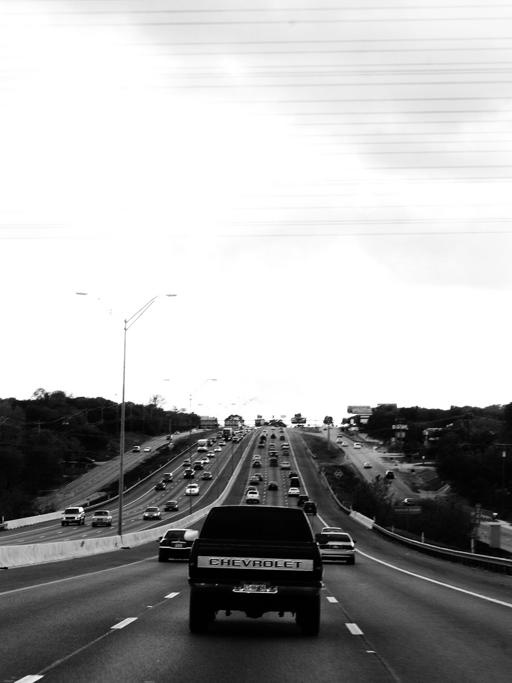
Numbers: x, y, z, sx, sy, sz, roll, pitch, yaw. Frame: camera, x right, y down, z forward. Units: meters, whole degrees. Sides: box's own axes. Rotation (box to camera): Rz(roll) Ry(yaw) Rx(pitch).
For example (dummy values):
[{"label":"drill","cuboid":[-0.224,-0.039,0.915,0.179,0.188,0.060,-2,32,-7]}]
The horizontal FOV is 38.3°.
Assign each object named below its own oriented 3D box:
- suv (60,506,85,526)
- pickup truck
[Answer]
[{"label":"suv","cuboid":[-19.724,18.956,80.385,1.405,1.354,2.918,0,-16,-3]},{"label":"pickup truck","cuboid":[0.029,3.446,11.354,1.921,1.791,3.869,2,-13,-1]}]
